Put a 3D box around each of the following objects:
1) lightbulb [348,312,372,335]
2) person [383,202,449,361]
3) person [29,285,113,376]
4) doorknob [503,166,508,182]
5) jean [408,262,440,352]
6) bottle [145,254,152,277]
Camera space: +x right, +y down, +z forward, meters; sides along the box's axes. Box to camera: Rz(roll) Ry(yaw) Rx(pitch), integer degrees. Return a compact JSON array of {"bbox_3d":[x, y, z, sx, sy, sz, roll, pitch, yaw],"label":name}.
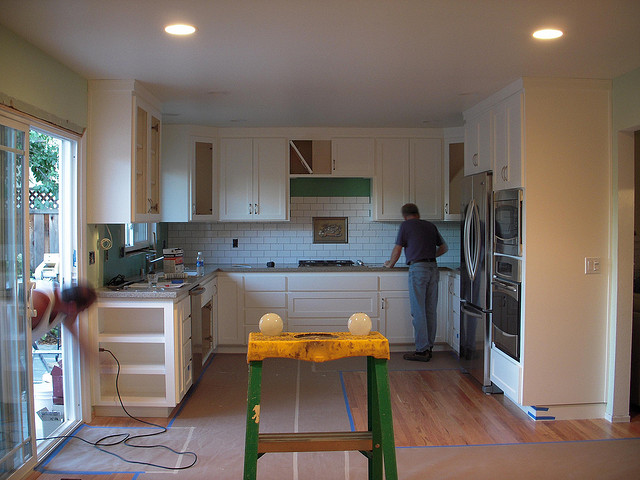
[{"bbox_3d":[0.232,0.490,2.955,0.127,0.114,0.122,0,8,9],"label":"lightbulb"},{"bbox_3d":[1.138,0.485,5.802,0.676,1.815,0.335,-1,2,-13],"label":"person"},{"bbox_3d":[-1.999,0.791,4.008,0.246,0.856,0.870,0,2,10],"label":"person"},{"bbox_3d":[1.686,-0.606,4.517,0.022,0.094,0.104,4,-17,10],"label":"doorknob"},{"bbox_3d":[1.215,0.771,5.734,0.356,1.034,0.147,-1,2,-14],"label":"jean"},{"bbox_3d":[-1.942,0.260,5.597,0.061,0.201,0.162,0,2,-9],"label":"bottle"}]
